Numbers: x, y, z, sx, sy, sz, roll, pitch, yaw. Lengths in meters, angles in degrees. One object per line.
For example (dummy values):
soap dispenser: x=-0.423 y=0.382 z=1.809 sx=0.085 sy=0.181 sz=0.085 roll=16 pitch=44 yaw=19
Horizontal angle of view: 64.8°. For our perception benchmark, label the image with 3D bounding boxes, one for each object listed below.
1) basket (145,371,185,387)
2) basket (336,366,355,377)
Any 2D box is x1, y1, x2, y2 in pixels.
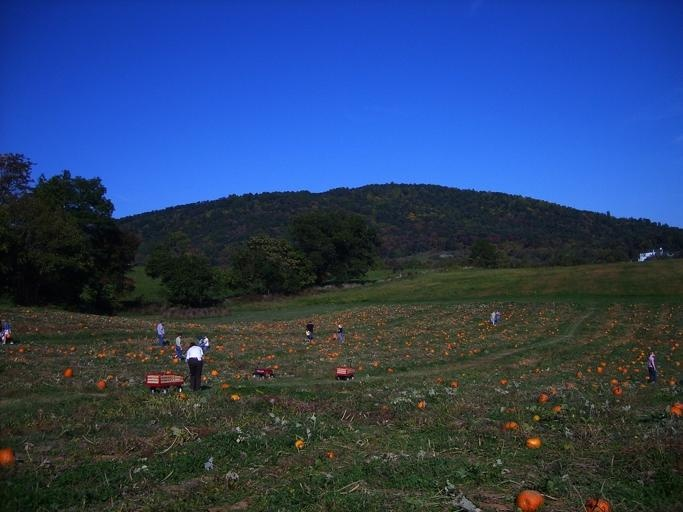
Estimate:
basket: x=-6.780 y=4.887 z=21.148 sx=0.916 sy=0.498 sz=1.305 roll=-1 pitch=-4 yaw=29
basket: x=0.172 y=5.536 z=25.432 sx=0.430 sy=0.337 sz=0.624 roll=-2 pitch=-3 yaw=13
